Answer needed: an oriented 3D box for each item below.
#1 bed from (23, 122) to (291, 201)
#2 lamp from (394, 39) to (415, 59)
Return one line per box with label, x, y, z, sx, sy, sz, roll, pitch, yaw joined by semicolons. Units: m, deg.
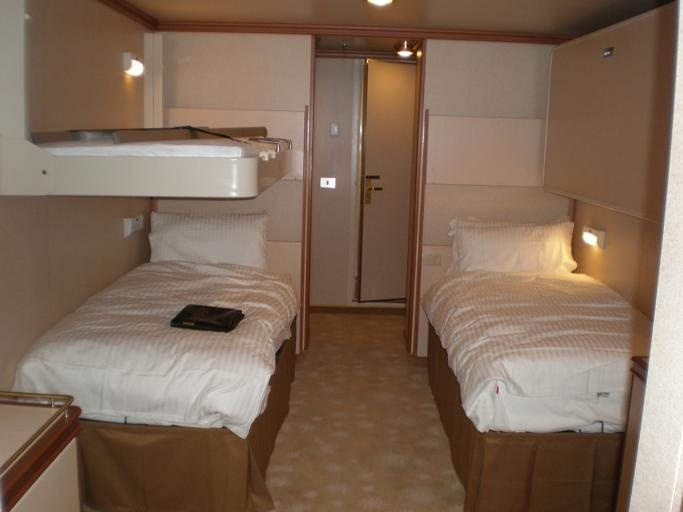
bed;-0.721;-0.460;2.623;0.974;0.353;1.166;7;10;29
lamp;0.551;-1.754;4.796;0.120;0.136;0.120;-7;18;-33
